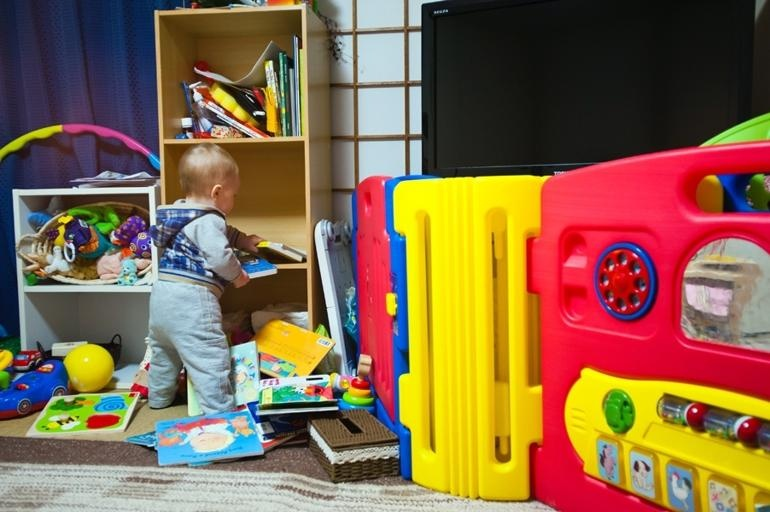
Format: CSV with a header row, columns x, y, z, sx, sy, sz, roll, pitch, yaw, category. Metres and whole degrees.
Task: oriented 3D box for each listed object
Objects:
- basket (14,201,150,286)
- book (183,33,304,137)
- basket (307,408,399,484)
x,y,z,sx,sy,sz,roll,pitch,yaw,category
-1.186,-0.053,2.495,0.520,0.316,0.171,-1,9,0,basket
-0.556,-0.682,2.606,0.482,0.287,0.404,3,2,4,book
-0.103,0.583,1.938,0.228,0.112,0.285,-2,6,-24,basket
